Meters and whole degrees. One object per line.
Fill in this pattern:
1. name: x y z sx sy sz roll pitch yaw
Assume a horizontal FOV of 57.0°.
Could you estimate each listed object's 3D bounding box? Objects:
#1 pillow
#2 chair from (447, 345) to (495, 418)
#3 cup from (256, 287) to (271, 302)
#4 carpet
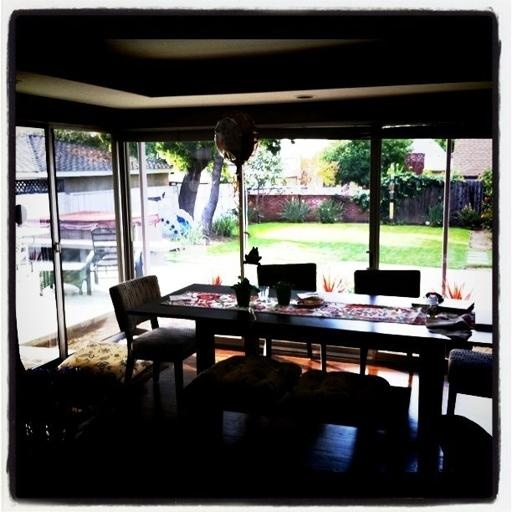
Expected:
1. pillow: -1.101 0.750 3.422 0.292 0.085 0.307 12 7 8
2. chair: 1.354 0.864 3.005 0.246 0.503 0.387 4 11 25
3. cup: 0.064 0.278 3.387 0.079 0.095 0.081 0 -2 0
4. carpet: -0.739 1.063 3.669 0.253 0.105 0.414 0 12 0
